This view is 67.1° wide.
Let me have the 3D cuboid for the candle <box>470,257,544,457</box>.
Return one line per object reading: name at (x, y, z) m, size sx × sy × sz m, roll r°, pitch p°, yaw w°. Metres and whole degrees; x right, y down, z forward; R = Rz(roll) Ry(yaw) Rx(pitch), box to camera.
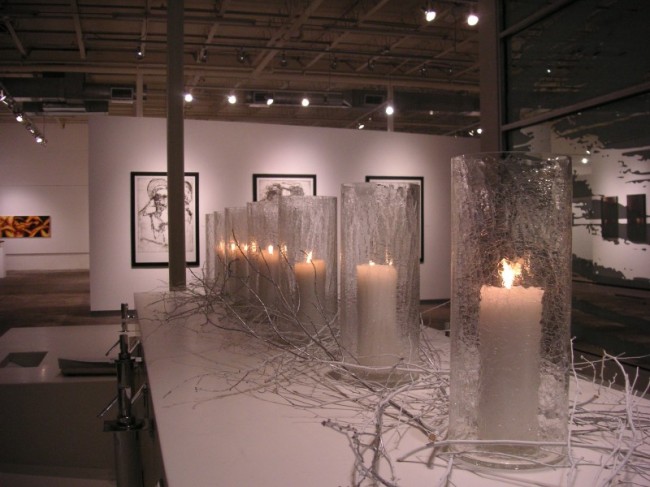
candle at (0.287, 0.157, 0.763) m, size 0.108 × 0.302 × 0.111 m, roll 0°, pitch 5°, yaw 37°
